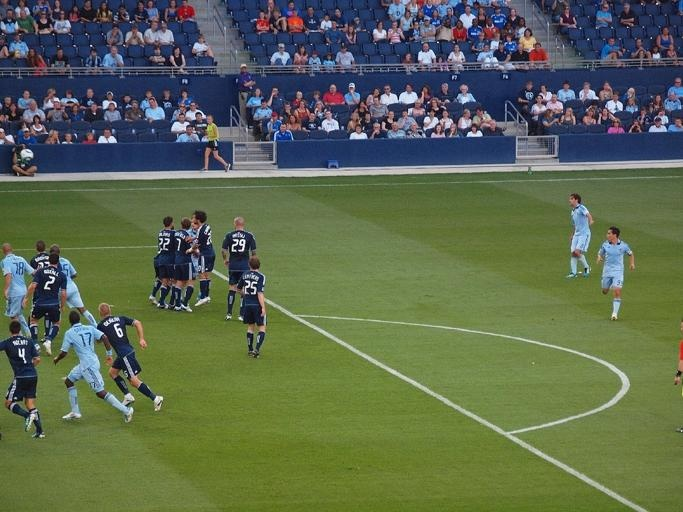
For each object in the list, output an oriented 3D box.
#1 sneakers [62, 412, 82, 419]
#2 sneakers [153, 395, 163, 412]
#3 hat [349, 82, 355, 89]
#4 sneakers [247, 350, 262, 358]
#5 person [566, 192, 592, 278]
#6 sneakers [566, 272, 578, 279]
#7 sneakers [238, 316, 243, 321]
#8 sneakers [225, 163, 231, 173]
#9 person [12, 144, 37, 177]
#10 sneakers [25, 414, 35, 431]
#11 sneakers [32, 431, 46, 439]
[{"bbox_3d":[-7.397,4.327,49.405,0.523,0.218,0.187,2,7,3],"label":"sneakers"},{"bbox_3d":[-5.067,4.032,49.662,0.259,0.487,0.178,1,50,0],"label":"sneakers"},{"bbox_3d":[0.394,-7.086,77.513,0.241,0.192,0.373,-1,2,8],"label":"hat"},{"bbox_3d":[-2.572,2.853,52.594,0.253,0.246,0.565,-1,-1,-4],"label":"sneakers"},{"bbox_3d":[7.765,-0.639,59.251,0.763,2.713,1.049,0,11,8],"label":"person"},{"bbox_3d":[7.513,0.679,59.247,0.153,0.167,0.413,-2,3,-29],"label":"sneakers"},{"bbox_3d":[-3.090,1.911,54.890,0.103,0.126,0.296,0,-3,-7],"label":"sneakers"},{"bbox_3d":[-4.726,-3.567,74.601,0.132,0.145,0.370,-18,33,24],"label":"sneakers"},{"bbox_3d":[-12.688,-3.686,72.327,1.033,1.250,1.063,5,9,-23],"label":"person"},{"bbox_3d":[-8.388,4.415,48.477,0.249,0.468,0.175,21,11,6],"label":"sneakers"},{"bbox_3d":[-8.145,4.778,48.546,0.383,0.171,0.123,2,10,13],"label":"sneakers"}]
